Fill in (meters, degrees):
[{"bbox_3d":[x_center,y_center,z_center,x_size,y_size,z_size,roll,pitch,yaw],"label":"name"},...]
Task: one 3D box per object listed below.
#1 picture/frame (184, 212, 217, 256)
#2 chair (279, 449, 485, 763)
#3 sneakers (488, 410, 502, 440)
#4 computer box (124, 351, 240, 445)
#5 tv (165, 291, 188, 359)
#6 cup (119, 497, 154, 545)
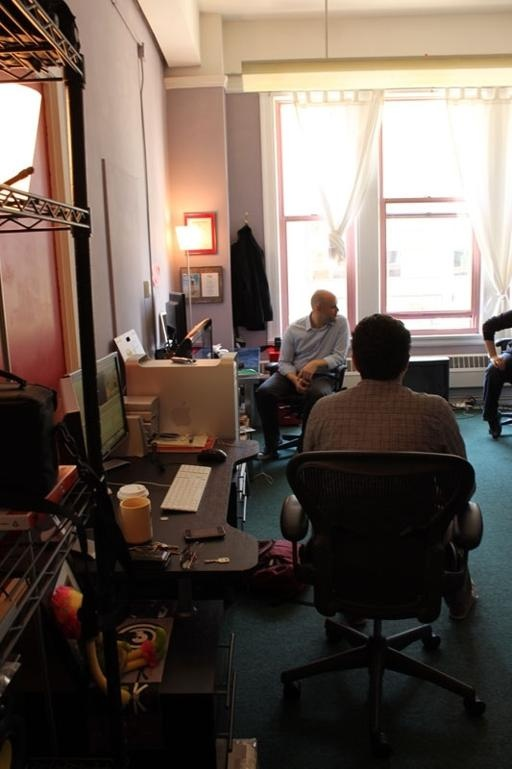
[{"bbox_3d":[-0.490,-1.348,5.065,0.387,0.514,0.053,0,11,-2],"label":"picture/frame"},{"bbox_3d":[0.362,0.510,1.616,0.562,0.773,0.539,-1,11,6],"label":"chair"},{"bbox_3d":[1.966,0.338,4.716,0.106,0.260,0.085,-4,-2,-1],"label":"sneakers"},{"bbox_3d":[-0.308,0.022,2.616,0.578,0.465,0.322,1,10,6],"label":"computer box"},{"bbox_3d":[-0.520,-0.379,3.746,0.153,0.487,0.476,-2,13,-7],"label":"tv"},{"bbox_3d":[-0.329,0.353,1.498,0.114,0.103,0.070,18,-16,-23],"label":"cup"}]
